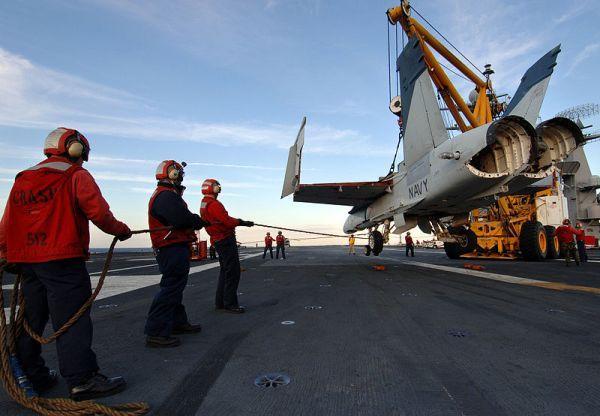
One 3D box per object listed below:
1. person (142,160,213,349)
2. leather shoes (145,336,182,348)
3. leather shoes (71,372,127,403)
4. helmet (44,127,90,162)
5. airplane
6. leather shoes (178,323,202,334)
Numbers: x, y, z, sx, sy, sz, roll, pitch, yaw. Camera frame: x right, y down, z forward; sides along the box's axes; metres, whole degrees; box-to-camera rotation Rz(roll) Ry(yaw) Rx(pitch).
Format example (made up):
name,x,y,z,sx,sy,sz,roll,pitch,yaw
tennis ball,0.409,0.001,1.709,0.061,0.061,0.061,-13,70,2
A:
name,x,y,z,sx,sy,sz,roll,pitch,yaw
person,-1.623,0.533,4.378,0.723,2.295,0.662,-2,1,-25
leather shoes,-1.686,1.620,4.303,0.429,0.194,0.152,0,-12,-8
leather shoes,-1.860,1.636,3.239,0.462,0.223,0.177,-2,-10,-23
helmet,-2.401,-0.665,3.519,0.327,0.315,0.391,11,0,25
airplane,4.246,-0.868,13.462,9.932,4.964,12.049,2,-10,-8
leather shoes,-1.494,1.611,4.721,0.333,0.122,0.116,-3,-2,-10
